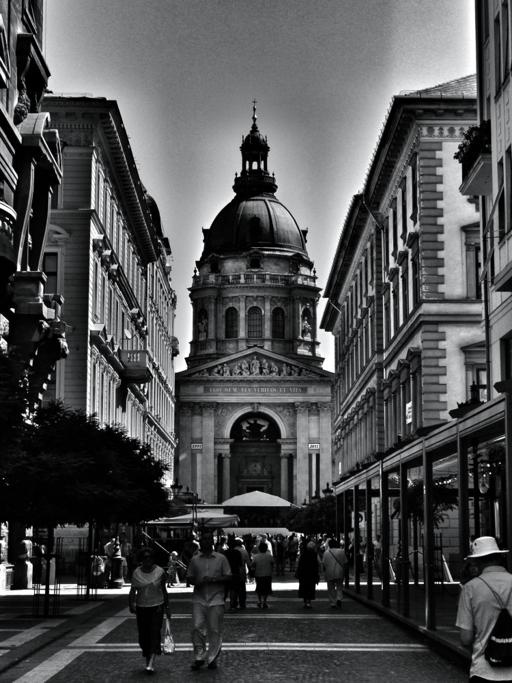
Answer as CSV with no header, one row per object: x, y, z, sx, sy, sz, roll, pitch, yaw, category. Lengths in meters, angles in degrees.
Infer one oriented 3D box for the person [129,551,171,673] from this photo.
-1.233,3.069,13.404,0.445,1.467,1.472,2,-16,-6,person

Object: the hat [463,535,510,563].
1.457,1.276,7.297,0.243,0.127,0.275,-6,-2,43,hat

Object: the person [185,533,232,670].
-0.548,2.992,13.393,0.484,1.480,0.579,1,-15,-4,person
